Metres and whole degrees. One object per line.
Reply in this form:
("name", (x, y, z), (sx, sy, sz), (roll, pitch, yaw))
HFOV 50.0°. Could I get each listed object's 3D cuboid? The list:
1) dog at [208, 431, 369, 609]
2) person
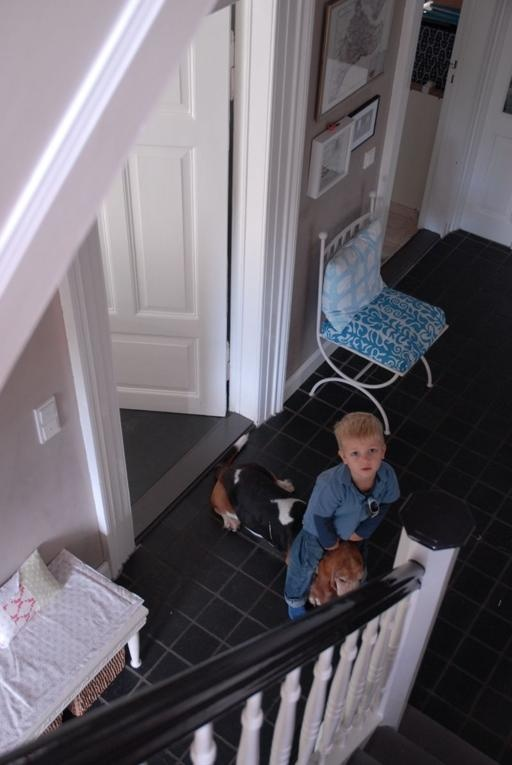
("dog", (0.147, 0.698, 2.924), (0.442, 0.424, 0.971), (-37, 60, -27))
("person", (0.389, 0.678, 2.630), (0.454, 1.295, 0.406), (-6, 27, -13))
